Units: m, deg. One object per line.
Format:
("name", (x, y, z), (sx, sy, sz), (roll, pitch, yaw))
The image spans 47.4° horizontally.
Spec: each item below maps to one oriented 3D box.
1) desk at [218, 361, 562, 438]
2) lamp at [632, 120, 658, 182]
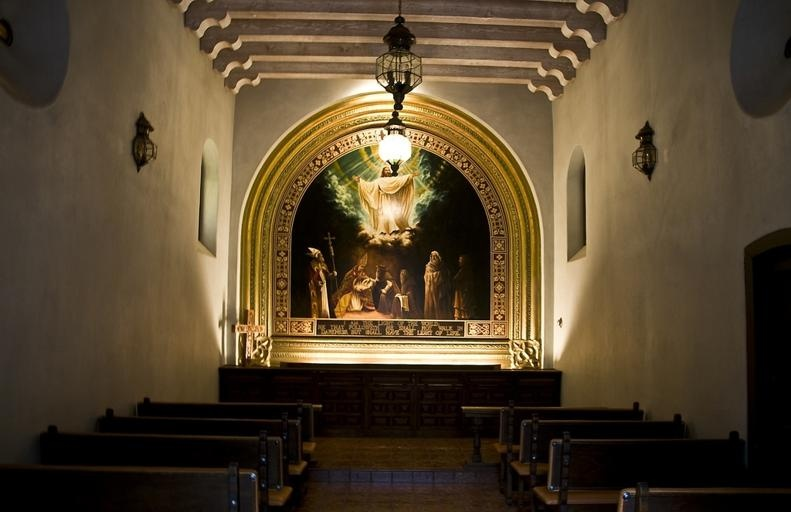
("desk", (-0.116, 2.567, 16.467), (6.038, 1.286, 0.811), (2, 10, -6))
("lamp", (3.471, -1.452, 12.654), (0.197, 0.843, 0.558), (3, -8, -7))
